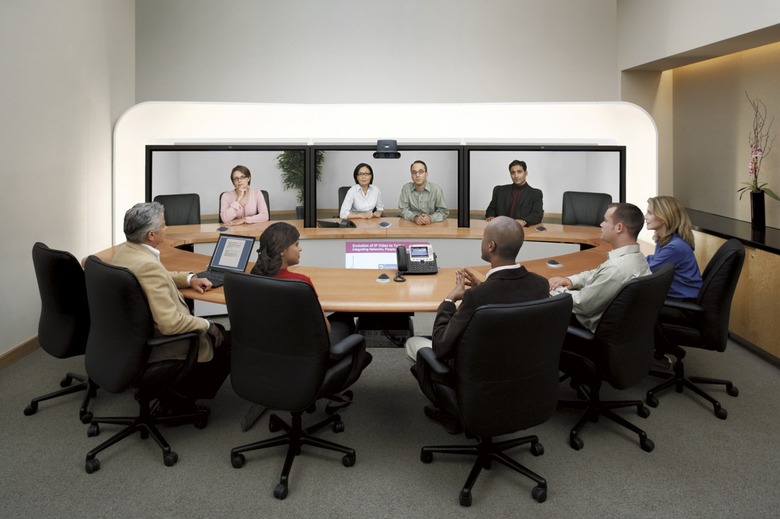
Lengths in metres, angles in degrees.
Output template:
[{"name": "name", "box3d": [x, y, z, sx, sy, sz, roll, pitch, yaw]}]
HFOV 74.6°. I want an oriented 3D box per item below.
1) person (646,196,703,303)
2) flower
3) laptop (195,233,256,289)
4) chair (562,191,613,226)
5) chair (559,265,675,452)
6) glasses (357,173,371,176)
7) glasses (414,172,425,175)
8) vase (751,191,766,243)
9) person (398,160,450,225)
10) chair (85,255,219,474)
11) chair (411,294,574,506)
[{"name": "person", "box3d": [2.525, -0.085, 4.673, 0.569, 0.986, 0.521, 2, 14, 45]}, {"name": "flower", "box3d": [4.274, -1.282, 5.876, 0.367, 1.268, 1.036, 5, 14, 29]}, {"name": "laptop", "box3d": [-1.318, -0.007, 4.292, 0.452, 0.373, 0.492, 8, 13, 23]}, {"name": "chair", "box3d": [2.356, -0.624, 6.266, 0.458, 0.605, 0.466, 2, 3, 7]}, {"name": "chair", "box3d": [1.613, 0.689, 3.798, 0.726, 1.323, 0.562, 0, 12, 8]}, {"name": "glasses", "box3d": [-0.295, -1.029, 6.203, 0.166, 0.051, 0.018, -3, 12, -7]}, {"name": "glasses", "box3d": [0.378, -1.045, 6.218, 0.119, 0.046, 0.019, -1, 12, 3]}, {"name": "vase", "box3d": [3.878, -0.496, 5.413, 0.163, 0.442, 0.586, 7, 15, 34]}, {"name": "person", "box3d": [0.415, -0.788, 6.580, 0.805, 1.001, 0.669, 0, 3, 3]}, {"name": "chair", "box3d": [-1.740, 0.675, 3.603, 0.843, 1.454, 0.578, -5, 13, -16]}, {"name": "chair", "box3d": [0.660, 0.865, 3.301, 0.900, 1.357, 0.489, -2, 12, -2]}]
